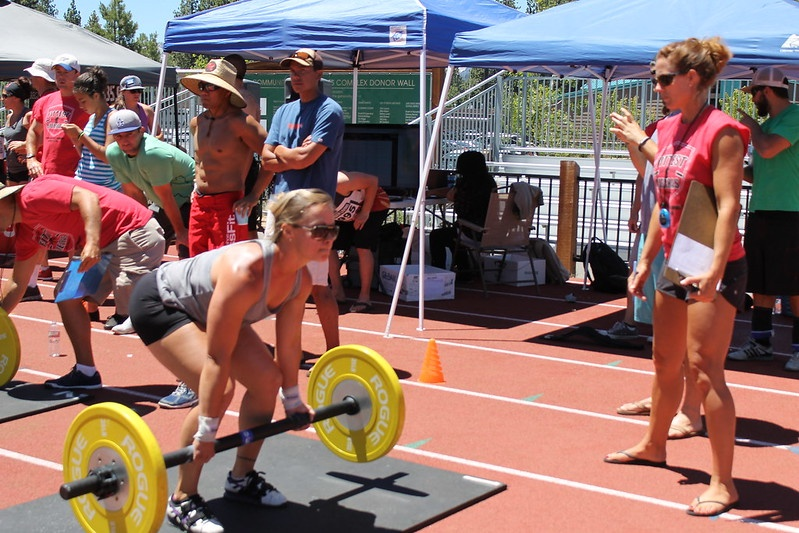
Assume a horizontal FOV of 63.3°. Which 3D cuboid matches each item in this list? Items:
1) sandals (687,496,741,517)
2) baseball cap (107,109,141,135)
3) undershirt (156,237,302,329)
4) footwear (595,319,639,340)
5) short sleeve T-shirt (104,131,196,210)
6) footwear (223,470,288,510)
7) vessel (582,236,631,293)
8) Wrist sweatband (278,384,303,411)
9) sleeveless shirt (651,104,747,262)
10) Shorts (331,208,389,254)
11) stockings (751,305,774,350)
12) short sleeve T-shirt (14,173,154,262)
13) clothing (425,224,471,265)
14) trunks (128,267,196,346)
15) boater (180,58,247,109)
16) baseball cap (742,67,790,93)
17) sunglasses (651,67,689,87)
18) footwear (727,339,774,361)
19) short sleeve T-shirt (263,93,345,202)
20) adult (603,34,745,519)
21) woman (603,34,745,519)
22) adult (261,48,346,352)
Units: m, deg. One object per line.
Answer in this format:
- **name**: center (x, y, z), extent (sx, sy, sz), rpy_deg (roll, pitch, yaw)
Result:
- **sandals**: center (2.109, 1.603, 4.375), extent (0.266, 0.076, 0.135), rpy_deg (2, -7, -23)
- **baseball cap**: center (-2.775, -1.525, 6.661), extent (0.234, 0.191, 0.337), rpy_deg (0, 19, 4)
- **undershirt**: center (-1.114, 0.148, 3.968), extent (0.750, 0.327, 0.504), rpy_deg (-4, 23, 13)
- **footwear**: center (2.844, 0.816, 8.402), extent (0.640, 0.312, 0.231), rpy_deg (4, -1, 0)
- **short sleeve T-shirt**: center (-2.679, -1.137, 7.283), extent (0.716, 0.986, 0.786), rpy_deg (14, 36, 12)
- **footwear**: center (-0.945, 1.495, 4.311), extent (0.379, 0.198, 0.195), rpy_deg (9, 5, 11)
- **vessel**: center (3.586, -0.063, 11.278), extent (0.597, 0.897, 0.685), rpy_deg (-16, 1, 32)
- **Wrist sweatband**: center (-0.698, 0.866, 4.273), extent (0.143, 0.162, 0.139), rpy_deg (-6, 0, 36)
- **sleeveless shirt**: center (2.071, -0.600, 4.567), extent (0.466, 1.067, 0.856), rpy_deg (-10, 14, -1)
- **Shorts**: center (-0.530, -0.480, 9.284), extent (0.849, 0.903, 0.509), rpy_deg (-2, 11, -20)
- **stockings**: center (4.319, 0.716, 7.713), extent (0.146, 0.574, 0.219), rpy_deg (5, 26, 35)
- **short sleeve T-shirt**: center (-2.784, -0.470, 6.032), extent (1.139, 0.624, 1.021), rpy_deg (-7, -1, -5)
- **clothing**: center (0.824, -0.374, 11.710), extent (0.463, 0.723, 0.560), rpy_deg (-12, 24, -16)
- **trunks**: center (-1.480, 0.281, 4.079), extent (0.357, 0.527, 0.524), rpy_deg (-8, 4, -17)
- **boater**: center (-1.785, -1.800, 6.247), extent (0.566, 0.482, 0.542), rpy_deg (-2, 10, -20)
- **baseball cap**: center (4.002, -2.059, 7.039), extent (0.348, 0.214, 0.258), rpy_deg (12, 21, 29)
- **sunglasses**: center (1.781, -1.283, 4.374), extent (0.156, 0.128, 0.311), rpy_deg (-1, 11, -13)
- **footwear**: center (4.142, 0.987, 7.675), extent (0.595, 0.305, 0.230), rpy_deg (1, 0, -2)
- **short sleeve T-shirt**: center (-0.998, -1.208, 6.594), extent (0.690, 1.074, 0.532), rpy_deg (4, -1, 13)
- **adult**: center (2.001, 0.038, 4.491), extent (0.523, 3.202, 0.884), rpy_deg (-4, 11, -31)
- **woman**: center (2.001, 0.038, 4.491), extent (0.523, 3.202, 0.884), rpy_deg (-4, 11, -31)
- **adult**: center (-0.957, -0.618, 6.609), extent (0.917, 3.140, 0.684), rpy_deg (3, 3, 42)
